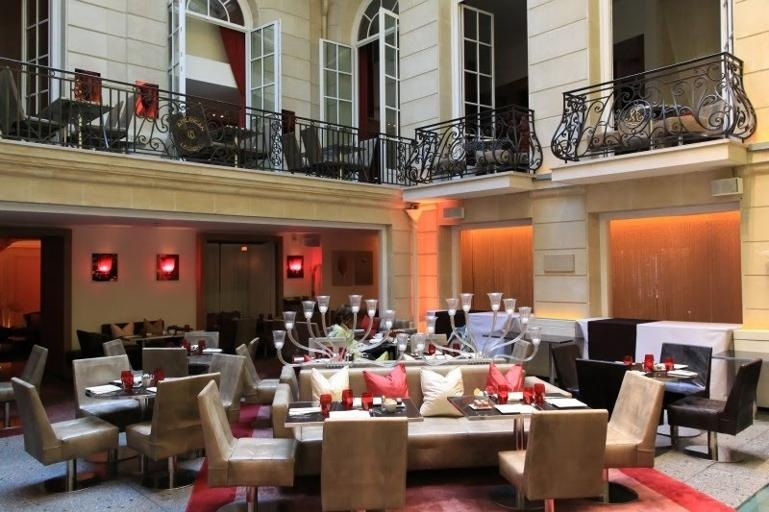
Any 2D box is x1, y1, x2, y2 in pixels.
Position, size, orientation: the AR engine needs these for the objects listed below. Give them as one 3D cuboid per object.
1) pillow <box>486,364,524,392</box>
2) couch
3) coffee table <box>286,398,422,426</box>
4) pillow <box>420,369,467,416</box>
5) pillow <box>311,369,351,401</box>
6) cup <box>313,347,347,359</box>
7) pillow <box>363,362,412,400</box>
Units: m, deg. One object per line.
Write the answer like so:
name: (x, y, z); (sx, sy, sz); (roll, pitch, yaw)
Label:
pillow: (1.600, 1.589, 8.690); (0.387, 0.400, 0.403); (1, -2, 10)
couch: (0.678, 2.021, 8.661); (2.626, 0.874, 1.064); (-1, 19, 1)
coffee table: (-0.376, 1.815, 7.865); (1.553, 0.218, 0.708); (-1, -6, -5)
pillow: (0.754, 1.778, 8.656); (0.517, 0.539, 0.230); (1, -31, 1)
pillow: (-0.701, 1.628, 8.650); (0.609, 0.593, 0.338); (1, -3, -17)
cup: (-0.744, 1.371, 9.412); (0.402, 0.165, 0.310); (1, 0, -14)
pillow: (0.047, 1.654, 8.661); (0.649, 0.556, 0.354); (2, -38, -9)
